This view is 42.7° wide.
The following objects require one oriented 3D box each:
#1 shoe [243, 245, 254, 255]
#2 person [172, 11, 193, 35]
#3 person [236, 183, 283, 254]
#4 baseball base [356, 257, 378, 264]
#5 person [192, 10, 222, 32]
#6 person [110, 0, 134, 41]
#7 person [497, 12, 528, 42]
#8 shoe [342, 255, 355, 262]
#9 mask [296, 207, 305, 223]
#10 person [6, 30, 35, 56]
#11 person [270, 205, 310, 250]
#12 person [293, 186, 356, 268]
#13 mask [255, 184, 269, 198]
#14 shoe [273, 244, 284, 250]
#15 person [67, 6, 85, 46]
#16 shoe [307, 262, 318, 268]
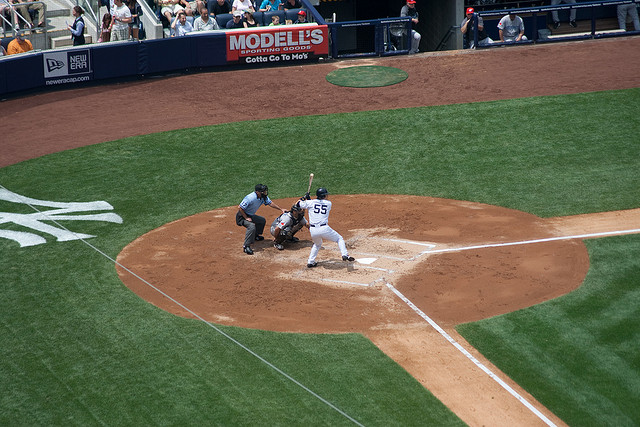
[{"bbox_3d":[-1.774,0.914,20.232,0.261,0.152,0.133,17,31,23],"label":"shoe"},{"bbox_3d":[-5.126,-7.135,30.623,0.690,0.813,0.552,-14,21,-34],"label":"person"},{"bbox_3d":[-1.558,0.213,20.986,1.239,1.561,1.202,11,34,6],"label":"person"},{"bbox_3d":[1.140,1.145,19.722,0.456,0.072,0.249,-1,15,0],"label":"baseball base"},{"bbox_3d":[-4.315,-7.287,30.995,0.964,1.136,0.667,-12,32,-18],"label":"person"},{"bbox_3d":[-7.267,-7.152,30.271,0.693,1.481,1.471,-15,21,-35],"label":"person"},{"bbox_3d":[7.546,-7.344,31.961,1.118,1.322,1.026,-6,24,-8],"label":"person"},{"bbox_3d":[0.686,1.066,19.569,0.280,0.219,0.256,-1,16,3],"label":"shoe"},{"bbox_3d":[-0.480,0.024,20.293,0.158,0.393,0.225,8,20,28],"label":"mask"},{"bbox_3d":[-10.587,-5.990,28.699,0.624,1.065,0.845,36,51,17],"label":"person"},{"bbox_3d":[-0.695,0.298,20.529,1.129,1.024,0.913,-9,16,-34],"label":"person"},{"bbox_3d":[-0.014,0.359,19.563,1.519,1.848,0.743,10,22,35],"label":"person"},{"bbox_3d":[-1.482,-0.592,20.534,0.321,0.271,0.214,-7,38,-8],"label":"mask"},{"bbox_3d":[-1.036,0.835,20.454,0.228,0.090,0.107,7,15,38],"label":"shoe"},{"bbox_3d":[-9.104,-6.990,30.468,0.553,1.379,1.126,-7,17,-14],"label":"person"},{"bbox_3d":[-0.193,1.244,19.617,0.272,0.074,0.103,-9,-3,-2],"label":"shoe"}]
